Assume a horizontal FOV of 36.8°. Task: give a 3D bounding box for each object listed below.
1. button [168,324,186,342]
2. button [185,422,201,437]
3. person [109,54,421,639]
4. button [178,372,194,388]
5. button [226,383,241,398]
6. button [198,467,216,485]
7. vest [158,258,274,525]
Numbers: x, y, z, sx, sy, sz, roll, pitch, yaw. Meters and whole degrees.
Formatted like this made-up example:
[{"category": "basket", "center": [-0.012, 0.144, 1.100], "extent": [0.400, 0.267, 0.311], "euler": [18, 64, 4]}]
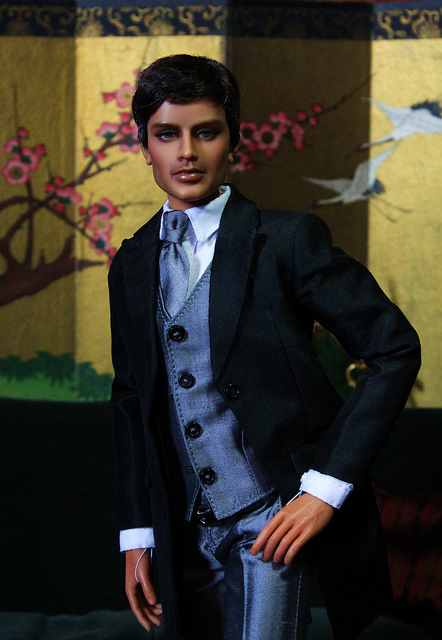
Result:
[{"category": "button", "center": [-0.085, 0.026, 1.289], "extent": [0.035, 0.027, 0.008], "euler": [3, -3, 9]}, {"category": "button", "center": [-0.052, 0.211, 1.276], "extent": [0.031, 0.026, 0.007], "euler": [-4, -10, 12]}, {"category": "person", "center": [0.034, 0.082, 1.354], "extent": [0.442, 1.229, 0.663], "euler": [-9, 15, -29]}, {"category": "button", "center": [-0.065, 0.117, 1.284], "extent": [0.035, 0.028, 0.011], "euler": [0, -5, 6]}, {"category": "button", "center": [0.023, 0.130, 1.214], "extent": [0.031, 0.025, 0.007], "euler": [-1, -6, 1]}, {"category": "button", "center": [-0.025, 0.296, 1.268], "extent": [0.037, 0.030, 0.011], "euler": [0, -9, 4]}, {"category": "vest", "center": [-0.036, 0.149, 1.306], "extent": [0.261, 0.531, 0.095], "euler": [-8, 18, -1]}]
